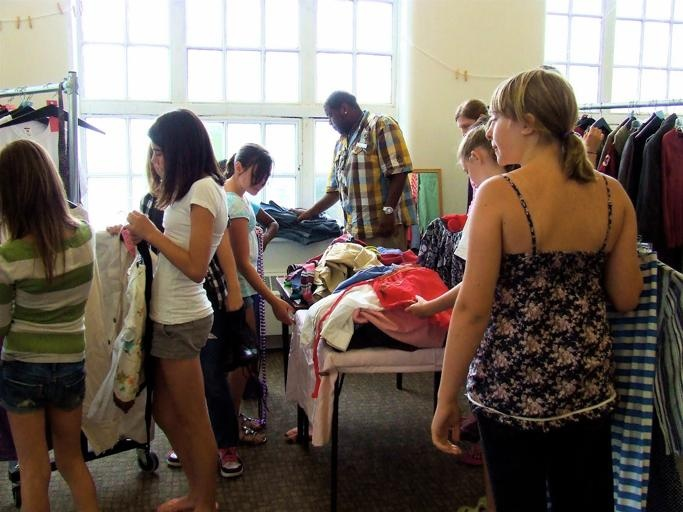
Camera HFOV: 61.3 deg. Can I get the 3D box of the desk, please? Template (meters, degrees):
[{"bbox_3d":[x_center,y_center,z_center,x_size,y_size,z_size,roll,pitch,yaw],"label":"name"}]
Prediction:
[{"bbox_3d":[0.111,0.641,2.809,0.668,0.574,0.708,-2,5,-14],"label":"desk"}]

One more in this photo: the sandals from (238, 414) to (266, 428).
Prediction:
[{"bbox_3d":[-0.491,0.918,3.180,0.108,0.044,0.072,0,1,23],"label":"sandals"}]

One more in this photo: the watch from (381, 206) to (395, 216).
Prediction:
[{"bbox_3d":[0.293,-0.280,3.596,0.054,0.040,0.074,0,-4,1],"label":"watch"}]

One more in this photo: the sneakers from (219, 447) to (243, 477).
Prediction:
[{"bbox_3d":[-0.543,1.016,2.819,0.065,0.084,0.183,1,-2,-16],"label":"sneakers"}]
